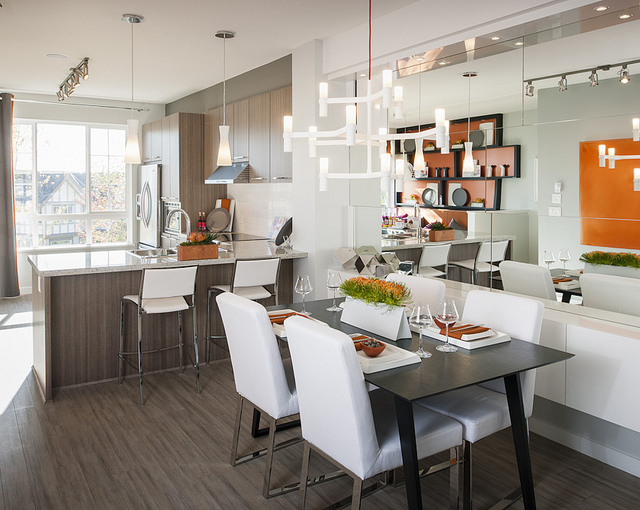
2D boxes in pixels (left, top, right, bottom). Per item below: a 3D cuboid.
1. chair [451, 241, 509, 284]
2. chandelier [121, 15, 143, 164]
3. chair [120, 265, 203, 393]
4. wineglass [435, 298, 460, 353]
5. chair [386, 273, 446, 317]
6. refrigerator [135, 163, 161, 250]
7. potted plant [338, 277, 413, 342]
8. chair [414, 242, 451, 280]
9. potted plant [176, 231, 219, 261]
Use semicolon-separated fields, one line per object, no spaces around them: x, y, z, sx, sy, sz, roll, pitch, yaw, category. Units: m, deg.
1.224;0.035;3.534;0.228;0.393;0.267;-2;8;-26;chair
-1.662;-1.292;4.164;0.140;1.533;0.165;-1;9;-22;chandelier
-1.364;0.581;3.973;0.674;1.032;0.619;-3;10;-16;chair
0.686;0.370;2.514;0.175;0.287;0.182;-1;2;-3;wineglass
0.706;0.258;3.319;0.302;0.403;0.319;-2;-18;36;chair
-2.680;-0.739;7.387;0.367;1.370;1.224;-4;10;-22;refrigerator
0.337;0.284;2.770;0.280;0.323;0.500;-7;11;-30;potted plant
0.978;0.133;4.072;0.309;0.470;0.289;4;7;23;chair
-1.141;-0.088;4.353;0.359;0.219;0.378;-3;10;-16;potted plant
